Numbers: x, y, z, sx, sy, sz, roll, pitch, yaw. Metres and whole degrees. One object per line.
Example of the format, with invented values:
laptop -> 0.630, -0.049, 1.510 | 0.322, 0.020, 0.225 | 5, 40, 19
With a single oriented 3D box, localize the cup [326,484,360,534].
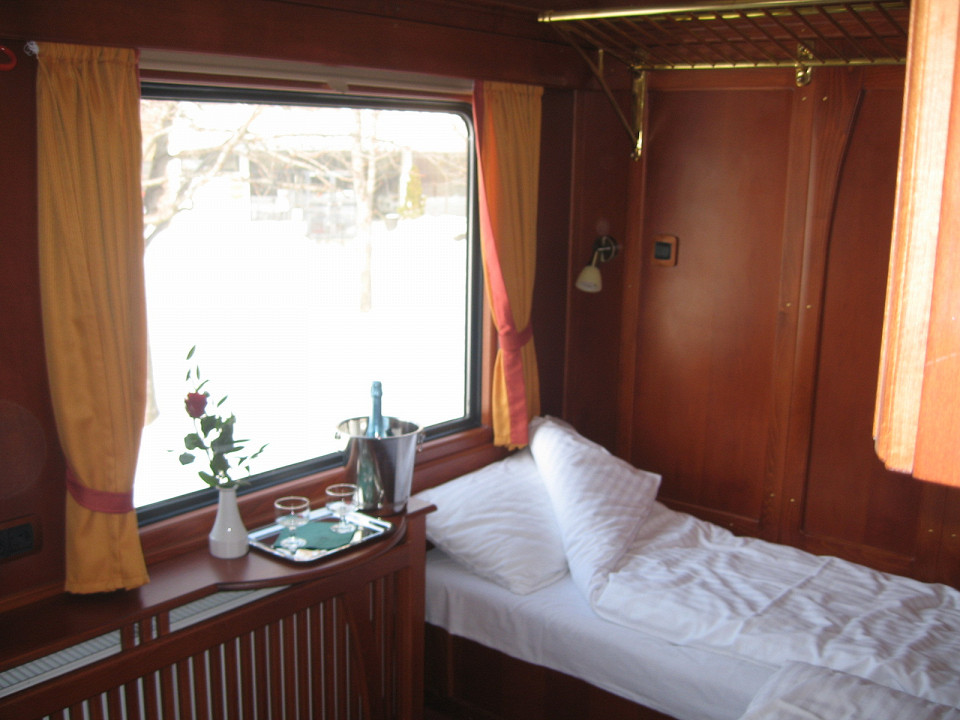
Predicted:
cup -> -0.532, 0.597, 3.140 | 0.144, 0.253, 0.153 | 0, 3, 0

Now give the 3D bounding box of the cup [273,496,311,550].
cup -> -0.715, 0.609, 2.984 | 0.099, 0.131, 0.112 | 1, 5, 0

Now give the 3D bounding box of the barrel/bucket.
barrel/bucket -> -0.417, 0.466, 3.305 | 0.338, 0.365, 0.361 | 0, 7, 0

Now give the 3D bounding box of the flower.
flower -> -0.970, 0.218, 2.934 | 0.330, 0.594, 0.465 | 0, 12, -17

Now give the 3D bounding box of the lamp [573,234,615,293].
lamp -> 0.644, -0.524, 4.309 | 0.189, 0.326, 0.146 | 2, -1, -33
